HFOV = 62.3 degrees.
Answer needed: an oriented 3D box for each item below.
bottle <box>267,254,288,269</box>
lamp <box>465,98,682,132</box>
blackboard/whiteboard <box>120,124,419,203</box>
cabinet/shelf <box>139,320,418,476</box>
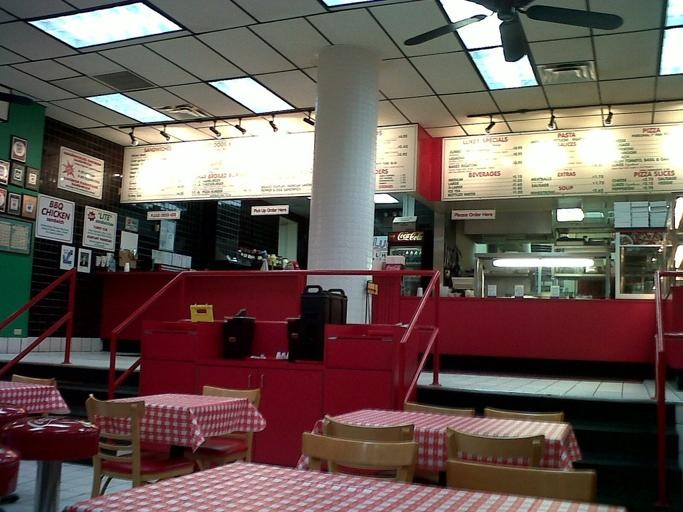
[{"bbox_3d":[-1.290,0.113,11.262,0.312,0.143,0.437,2,-5,0],"label":"bottle"},{"bbox_3d":[3.325,-2.072,8.274,2.940,0.374,0.328,2,0,16],"label":"lamp"},{"bbox_3d":[-1.385,-1.497,9.657,5.171,1.084,0.071,0,15,16],"label":"blackboard/whiteboard"},{"bbox_3d":[-0.702,1.296,5.561,2.683,1.369,0.374,2,0,19],"label":"cabinet/shelf"}]
